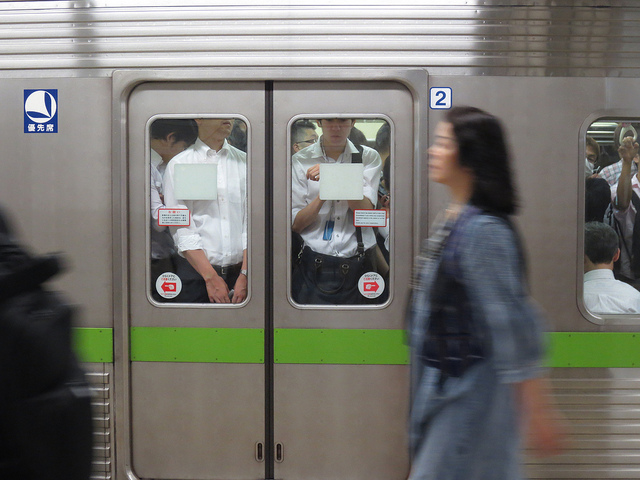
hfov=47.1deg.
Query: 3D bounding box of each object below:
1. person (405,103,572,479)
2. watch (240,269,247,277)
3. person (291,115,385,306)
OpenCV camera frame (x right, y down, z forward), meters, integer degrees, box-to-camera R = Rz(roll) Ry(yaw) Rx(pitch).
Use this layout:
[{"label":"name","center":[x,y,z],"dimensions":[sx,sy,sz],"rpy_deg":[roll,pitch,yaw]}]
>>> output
[{"label":"person","center":[0.779,0.273,3.562],"dimensions":[0.693,1.805,0.311],"rpy_deg":[1,8,6]},{"label":"watch","center":[-0.490,0.213,4.727],"dimensions":[0.048,0.041,0.011],"rpy_deg":[2,9,12]},{"label":"person","center":[0.090,-0.184,4.789],"dimensions":[0.625,1.517,0.459],"rpy_deg":[1,25,1]}]
